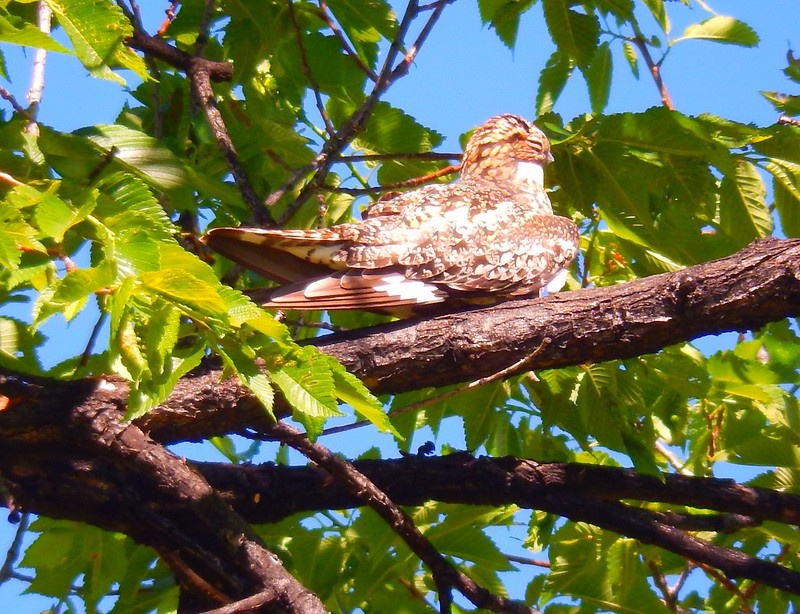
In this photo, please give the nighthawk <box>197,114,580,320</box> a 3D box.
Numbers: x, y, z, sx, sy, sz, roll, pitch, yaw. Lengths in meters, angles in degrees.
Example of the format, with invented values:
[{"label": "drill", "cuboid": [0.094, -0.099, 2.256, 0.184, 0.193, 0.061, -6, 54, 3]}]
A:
[{"label": "nighthawk", "cuboid": [0.080, -0.314, 7.748, 2.066, 0.987, 0.922, 0, -28, -11]}]
